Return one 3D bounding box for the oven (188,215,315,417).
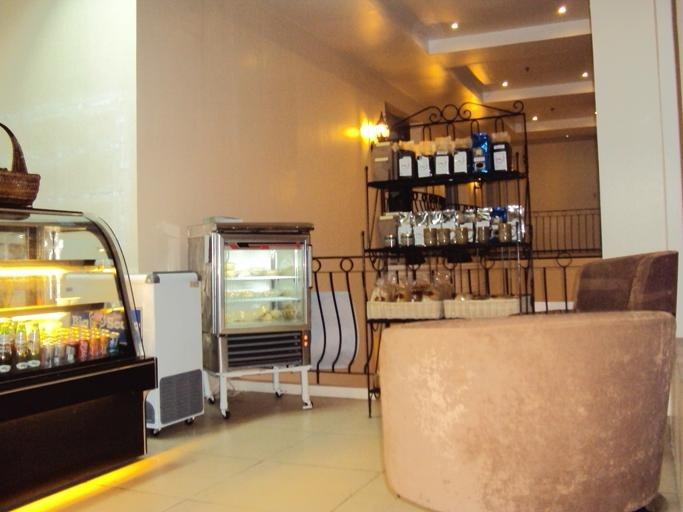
[{"bbox_3d":[-0.704,0.487,4.702,0.792,1.469,0.750,1,-6,-22],"label":"oven"}]

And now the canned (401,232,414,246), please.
[{"bbox_3d":[0.558,-0.140,4.786,0.095,0.099,0.098,1,2,34],"label":"canned"}]

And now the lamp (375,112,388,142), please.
[{"bbox_3d":[0.580,-1.846,7.992,0.180,0.378,0.670,-2,1,6],"label":"lamp"}]

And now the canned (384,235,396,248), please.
[{"bbox_3d":[0.414,-0.128,4.819,0.094,0.111,0.099,-1,2,6],"label":"canned"}]
